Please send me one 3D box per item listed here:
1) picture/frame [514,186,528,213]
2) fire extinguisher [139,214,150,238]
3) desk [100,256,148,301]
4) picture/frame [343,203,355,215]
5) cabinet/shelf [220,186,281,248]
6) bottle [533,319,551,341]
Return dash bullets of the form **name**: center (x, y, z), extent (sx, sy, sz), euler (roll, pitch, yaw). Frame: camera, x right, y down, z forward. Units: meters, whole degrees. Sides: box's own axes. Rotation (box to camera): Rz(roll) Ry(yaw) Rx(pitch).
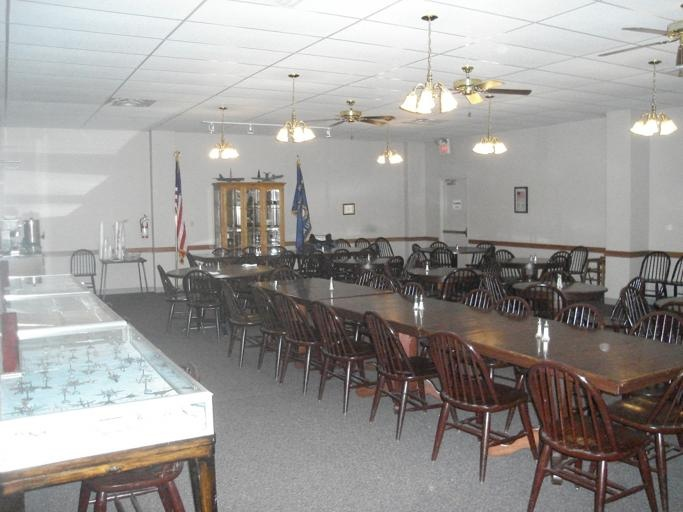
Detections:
- **picture/frame**: center (3.563, -1.123, 10.415), extent (0.045, 0.544, 0.372), euler (-9, 12, -32)
- **fire extinguisher**: center (-3.800, -0.561, 10.116), extent (0.193, 0.454, 0.108), euler (-6, 11, -20)
- **desk**: center (-4.083, 0.366, 9.822), extent (0.769, 0.756, 0.935), euler (0, 8, -30)
- **picture/frame**: center (0.148, -1.097, 12.018), extent (0.275, 0.315, 0.025), euler (5, 3, -27)
- **cabinet/shelf**: center (-1.854, -0.799, 10.304), extent (1.215, 1.551, 0.558), euler (-1, 3, -31)
- **bottle**: center (1.416, 0.524, 3.714), extent (0.045, 0.113, 0.093), euler (-8, 13, -41)
